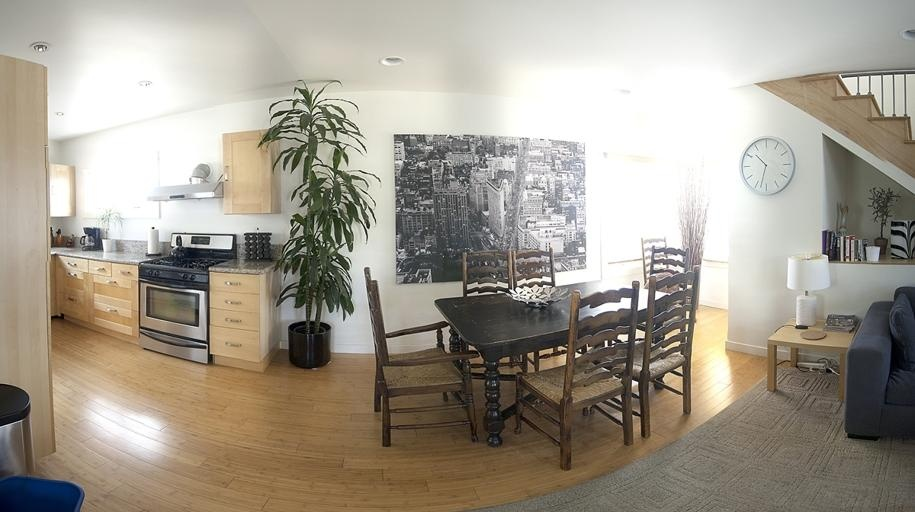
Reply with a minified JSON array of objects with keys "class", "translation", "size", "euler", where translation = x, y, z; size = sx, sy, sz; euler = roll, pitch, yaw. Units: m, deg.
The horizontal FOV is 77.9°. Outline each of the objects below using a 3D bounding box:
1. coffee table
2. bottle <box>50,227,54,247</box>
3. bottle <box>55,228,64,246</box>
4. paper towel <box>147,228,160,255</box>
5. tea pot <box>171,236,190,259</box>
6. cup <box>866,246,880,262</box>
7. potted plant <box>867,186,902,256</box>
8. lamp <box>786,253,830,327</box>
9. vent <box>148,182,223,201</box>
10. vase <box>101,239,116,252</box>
[{"class":"coffee table","translation":[4.269,1.193,6.896],"size":[1.024,0.664,0.949],"euler":[-4,1,-39]},{"class":"bottle","translation":[-7.021,-0.341,9.772],"size":[0.044,0.274,0.229],"euler":[-5,6,-35]},{"class":"bottle","translation":[-6.917,-0.342,9.782],"size":[0.124,0.305,0.285],"euler":[-5,6,-34]},{"class":"paper towel","translation":[-4.635,-0.234,8.603],"size":[0.178,0.404,0.204],"euler":[-4,6,-27]},{"class":"tea pot","translation":[-4.099,-0.133,8.350],"size":[0.339,0.338,0.215],"euler":[-5,-10,45]},{"class":"cup","translation":[5.305,-0.037,7.164],"size":[0.197,0.200,0.110],"euler":[-3,5,-16]},{"class":"potted plant","translation":[5.679,-0.601,7.519],"size":[0.347,0.678,0.130],"euler":[1,6,31]},{"class":"lamp","translation":[4.461,0.433,7.186],"size":[0.460,0.893,0.510],"euler":[1,6,31]},{"class":"vent","translation":[-3.893,-0.942,8.109],"size":[1.190,0.207,0.270],"euler":[1,5,27]},{"class":"vase","translation":[-5.581,-0.180,9.021],"size":[0.227,0.208,0.238],"euler":[-3,-7,37]}]
